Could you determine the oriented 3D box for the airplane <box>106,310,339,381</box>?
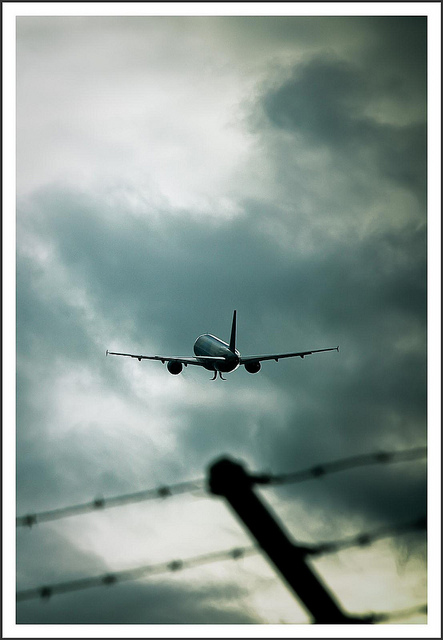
[{"bbox_3d":[-0.809,2.637,72.006,21.180,6.709,16.762,0,-1,-10],"label":"airplane"}]
